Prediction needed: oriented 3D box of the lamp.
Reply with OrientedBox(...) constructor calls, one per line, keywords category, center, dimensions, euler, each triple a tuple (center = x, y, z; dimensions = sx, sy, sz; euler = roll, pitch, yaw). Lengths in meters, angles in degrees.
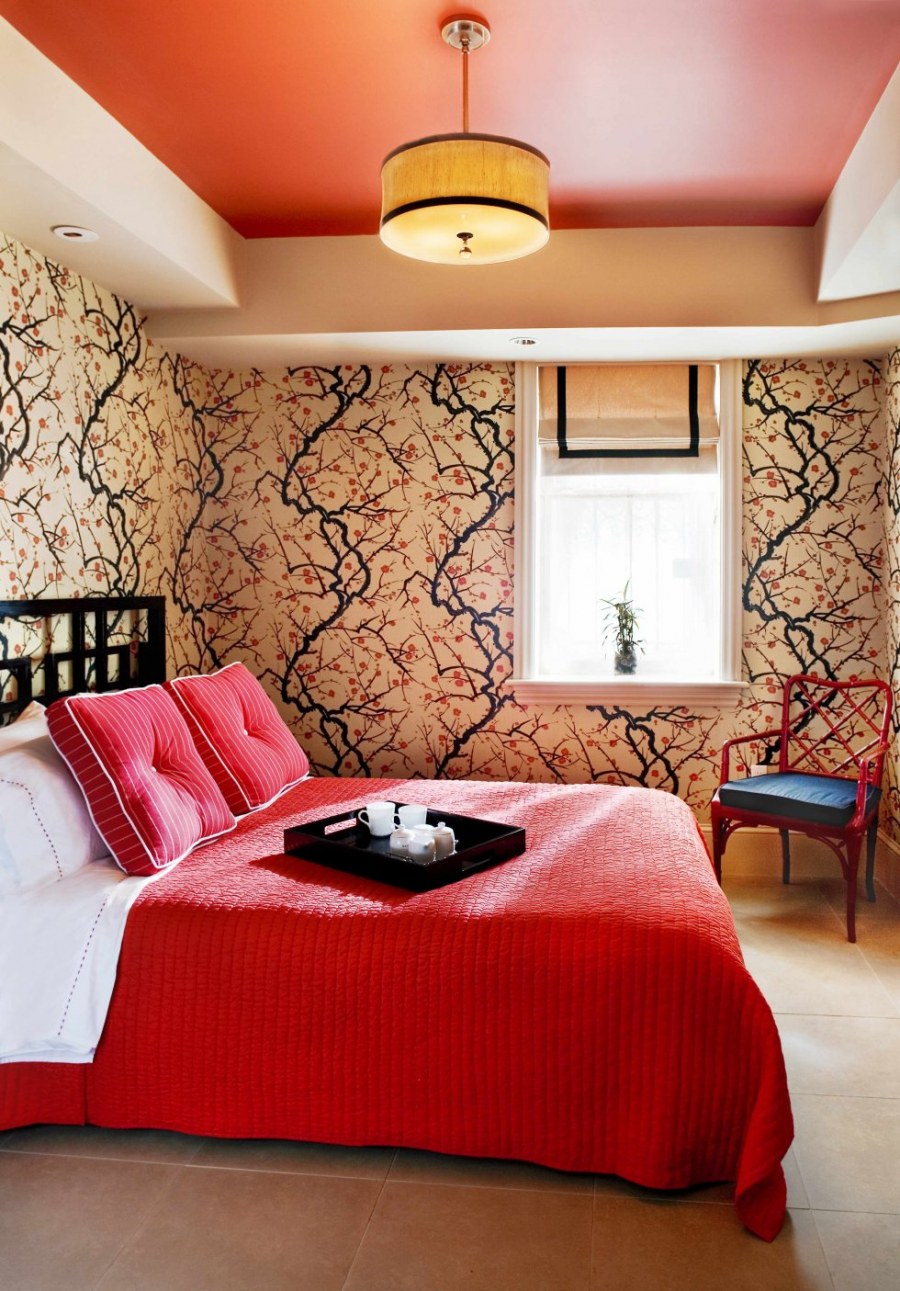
OrientedBox(category="lamp", center=(0.032, -1.022, 2.240), dimensions=(0.373, 0.162, 0.403), euler=(0, 3, -4))
